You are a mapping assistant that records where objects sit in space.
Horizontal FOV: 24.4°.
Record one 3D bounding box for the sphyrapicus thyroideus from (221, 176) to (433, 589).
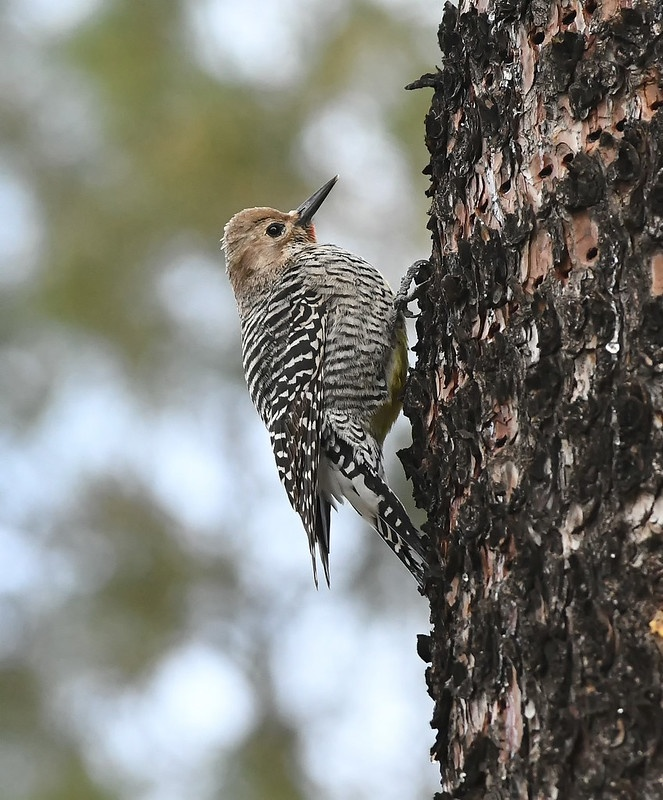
[{"bbox_3d":[0.018,-0.105,6.022,0.807,1.350,0.379,-29,-38,-15],"label":"sphyrapicus thyroideus"}]
